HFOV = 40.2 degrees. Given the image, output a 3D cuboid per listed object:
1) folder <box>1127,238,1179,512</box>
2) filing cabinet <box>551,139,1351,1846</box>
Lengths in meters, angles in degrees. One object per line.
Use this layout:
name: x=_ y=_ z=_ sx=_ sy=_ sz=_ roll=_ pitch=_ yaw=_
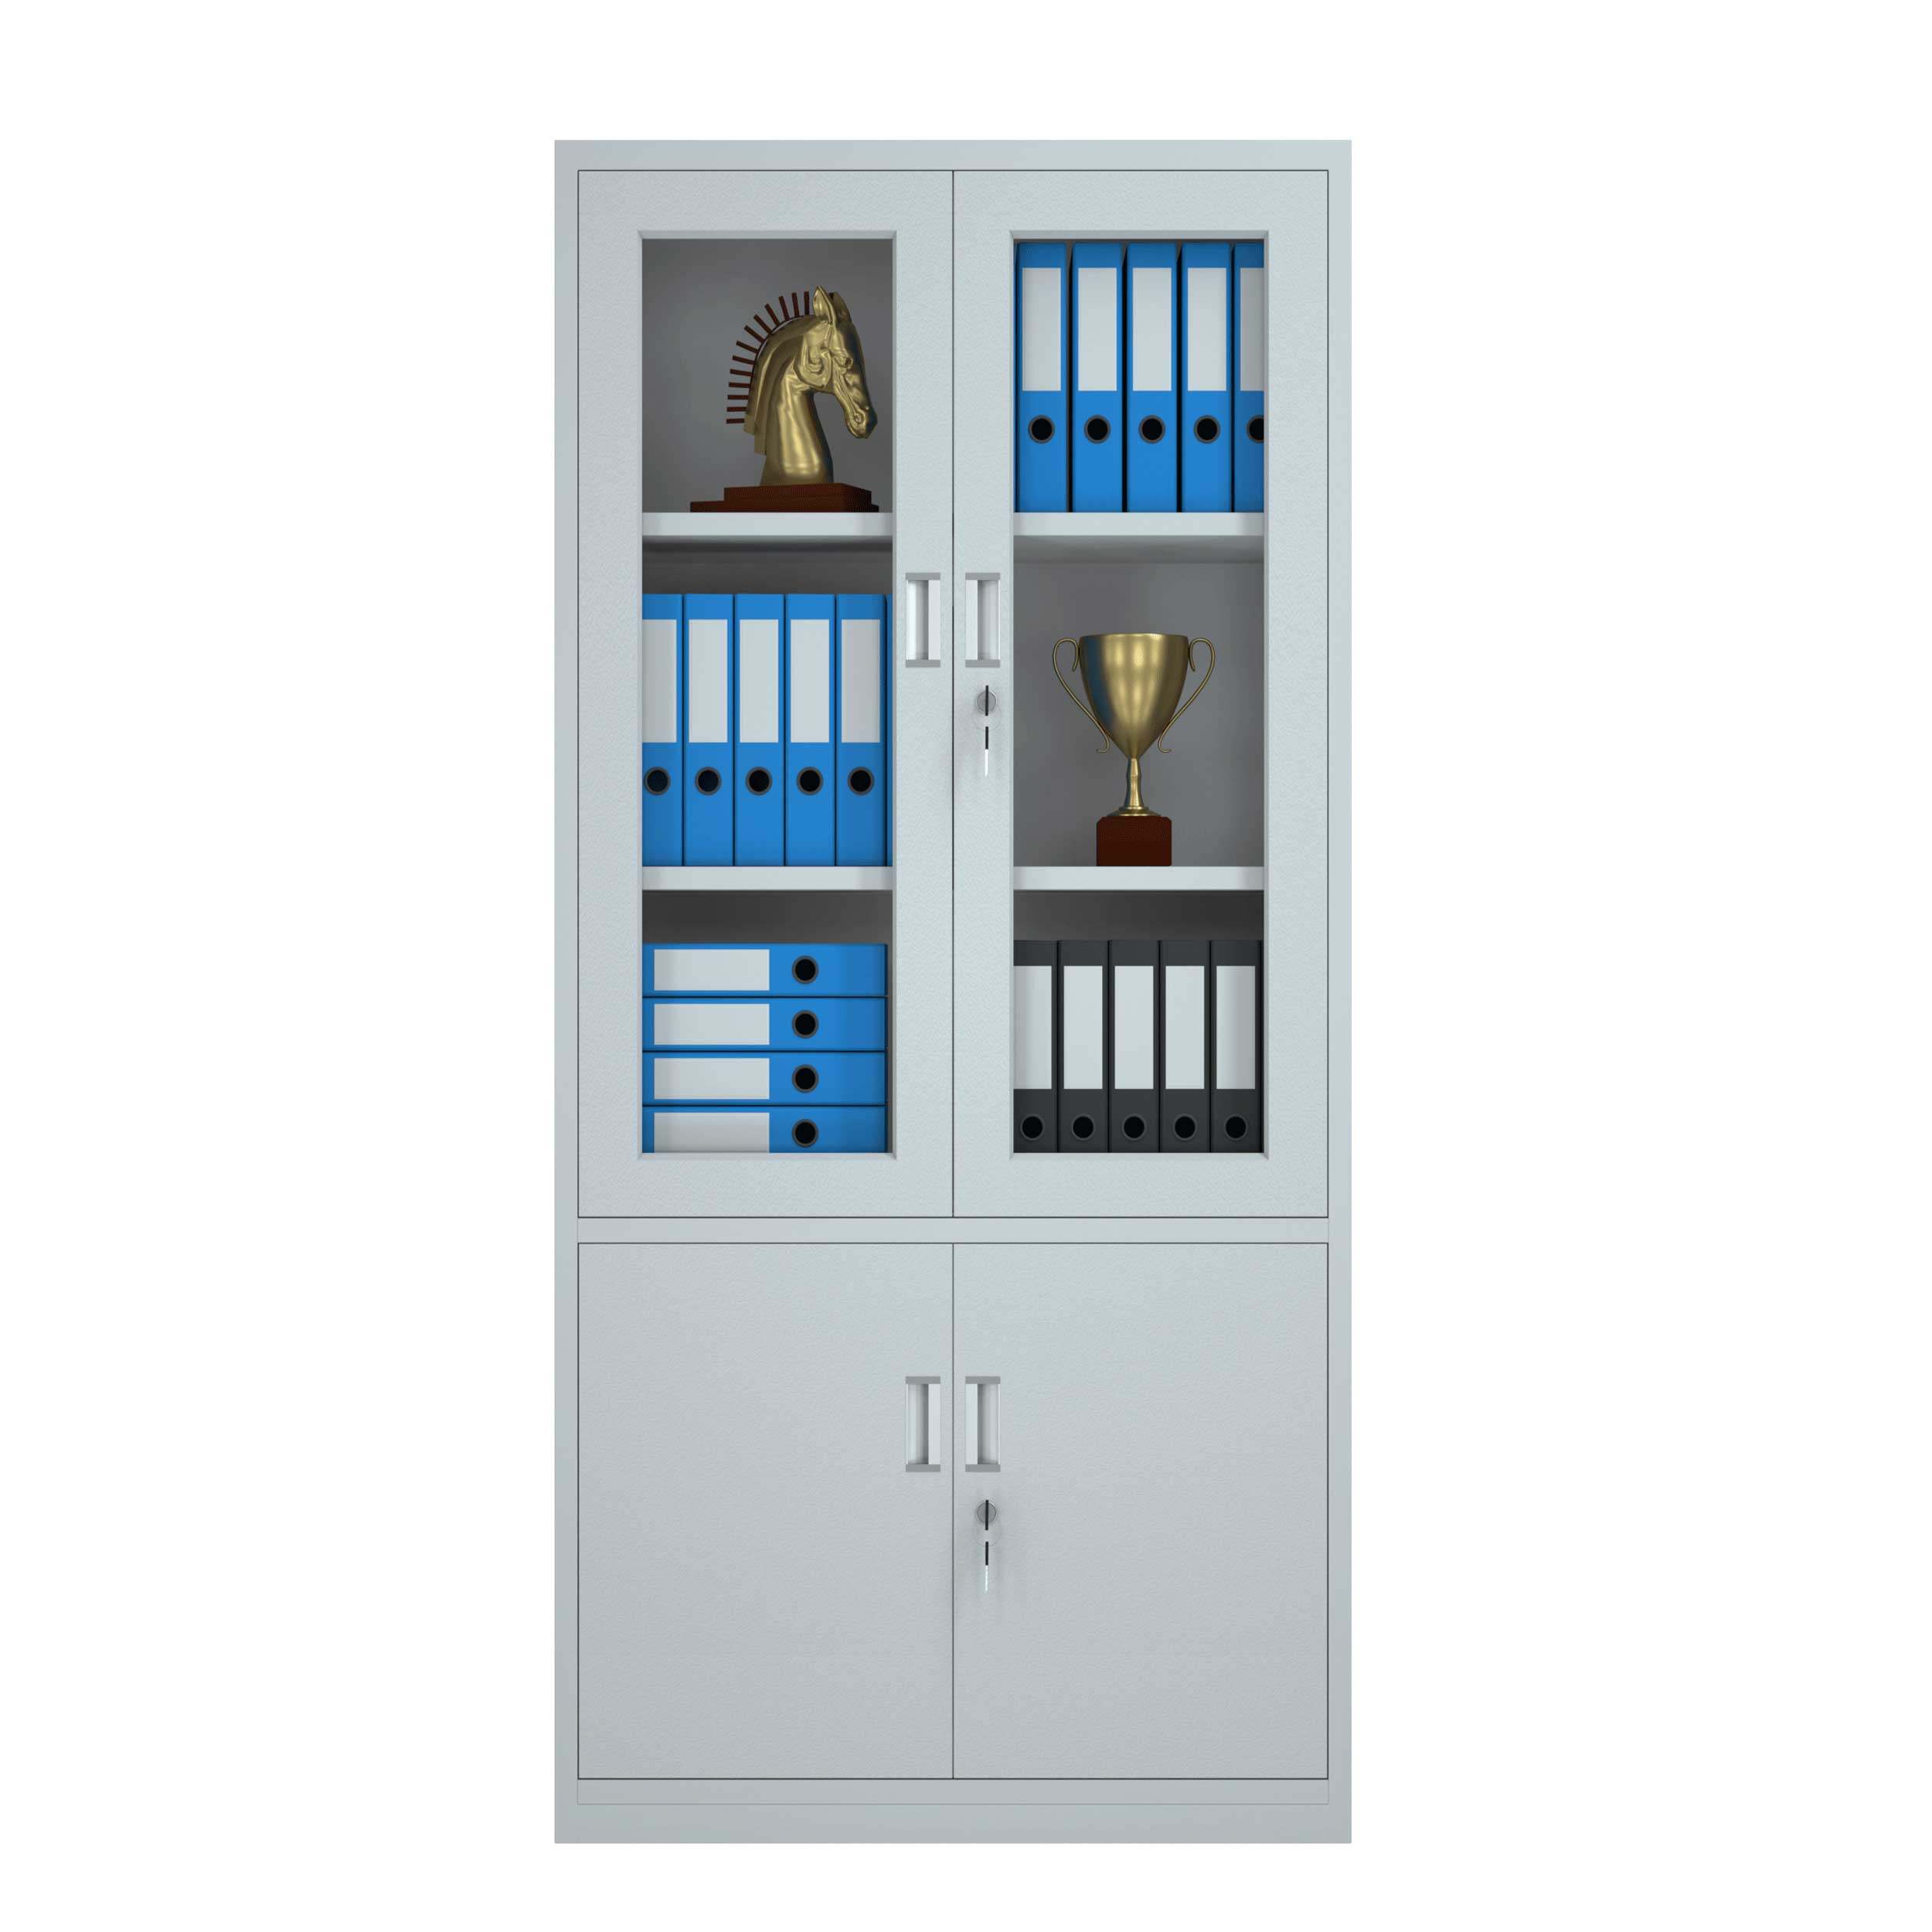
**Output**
folder: x=0.300 y=-0.948 z=4.196 sx=0.096 sy=0.416 sz=0.146 roll=9 pitch=36 yaw=17
filing cabinet: x=-0.027 y=0.055 z=4.170 sx=1.222 sy=2.589 sz=0.609 roll=0 pitch=-8 yaw=-1
